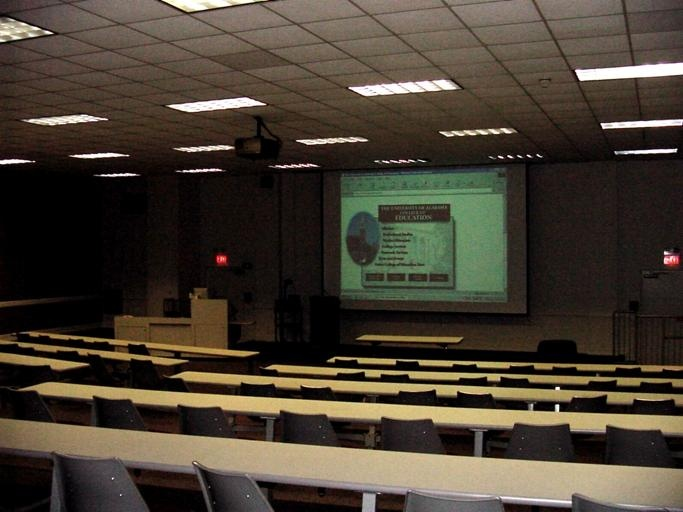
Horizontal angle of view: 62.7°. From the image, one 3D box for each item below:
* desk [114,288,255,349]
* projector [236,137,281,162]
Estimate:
[{"bbox_3d":[-3.766,1.436,12.401,2.878,1.023,0.808,6,-18,-33],"label":"desk"},{"bbox_3d":[-1.196,-1.682,8.594,0.641,0.226,0.600,1,0,35],"label":"projector"}]
